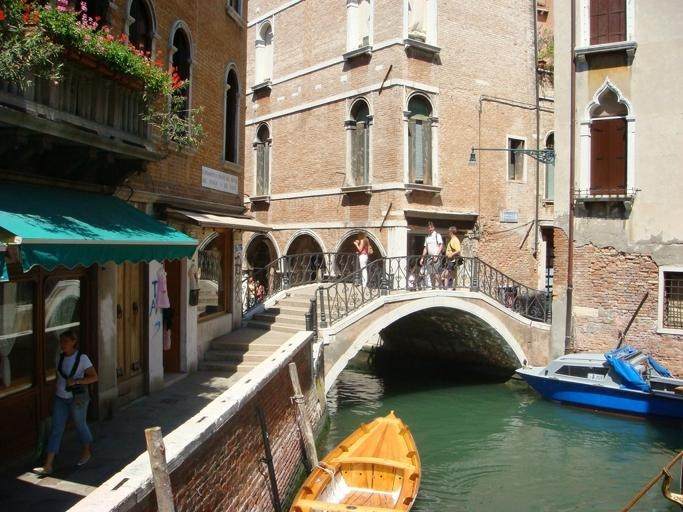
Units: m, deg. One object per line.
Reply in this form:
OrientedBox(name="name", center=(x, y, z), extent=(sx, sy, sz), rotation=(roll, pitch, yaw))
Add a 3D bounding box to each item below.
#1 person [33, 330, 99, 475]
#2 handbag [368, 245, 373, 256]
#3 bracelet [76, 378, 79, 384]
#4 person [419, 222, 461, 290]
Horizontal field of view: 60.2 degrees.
OrientedBox(name="person", center=(-4.305, 2.207, 9.189), extent=(0.901, 2.037, 0.628), rotation=(-4, 5, -36))
OrientedBox(name="handbag", center=(1.071, -0.199, 21.763), extent=(0.211, 0.328, 0.106), rotation=(-3, 8, -27))
OrientedBox(name="bracelet", center=(-4.092, 1.936, 9.142), extent=(0.060, 0.064, 0.019), rotation=(1, -38, -20))
OrientedBox(name="person", center=(3.219, -0.005, 19.116), extent=(1.344, 2.131, 1.143), rotation=(-1, 4, 3))
